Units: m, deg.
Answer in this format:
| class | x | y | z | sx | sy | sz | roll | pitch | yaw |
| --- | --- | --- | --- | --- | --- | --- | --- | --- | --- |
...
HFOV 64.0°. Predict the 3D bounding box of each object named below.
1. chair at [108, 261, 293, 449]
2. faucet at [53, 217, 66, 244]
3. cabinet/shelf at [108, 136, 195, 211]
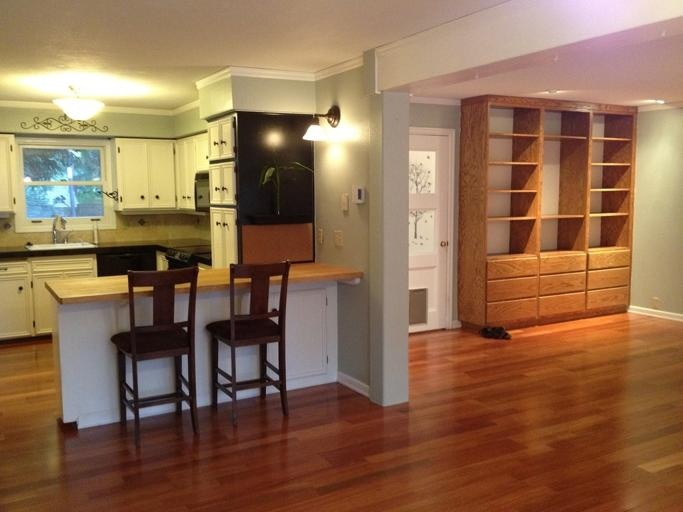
| class | x | y | z | sx | sy | sz | roll | pitch | yaw |
| --- | --- | --- | --- | --- | --- | --- | --- | --- | --- |
| chair | -1.142 | 0.823 | 4.352 | 1.324 | 1.262 | 0.577 | -3 | 8 | -31 |
| faucet | -3.674 | -0.338 | 7.150 | 0.208 | 0.347 | 0.155 | -9 | 14 | -40 |
| cabinet/shelf | -2.531 | -1.113 | 7.268 | 1.064 | 0.939 | 0.371 | -2 | 3 | -29 |
